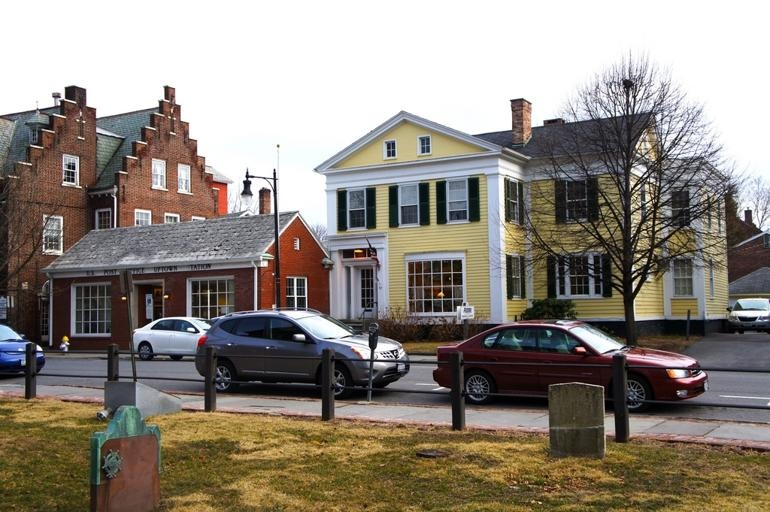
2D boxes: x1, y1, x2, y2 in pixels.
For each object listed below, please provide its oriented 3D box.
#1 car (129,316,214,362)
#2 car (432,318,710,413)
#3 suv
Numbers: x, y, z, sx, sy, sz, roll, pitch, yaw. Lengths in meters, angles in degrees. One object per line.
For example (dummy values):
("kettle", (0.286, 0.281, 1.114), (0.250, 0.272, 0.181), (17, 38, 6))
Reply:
("car", (-8.377, 3.121, 34.944), (3.986, 1.261, 1.821), (-5, -6, 24))
("car", (4.404, 2.631, 22.507), (6.248, 2.251, 2.633), (-2, -8, 18))
("suv", (-2.442, 2.696, 25.287), (5.390, 1.761, 2.540), (-3, -5, 20))
